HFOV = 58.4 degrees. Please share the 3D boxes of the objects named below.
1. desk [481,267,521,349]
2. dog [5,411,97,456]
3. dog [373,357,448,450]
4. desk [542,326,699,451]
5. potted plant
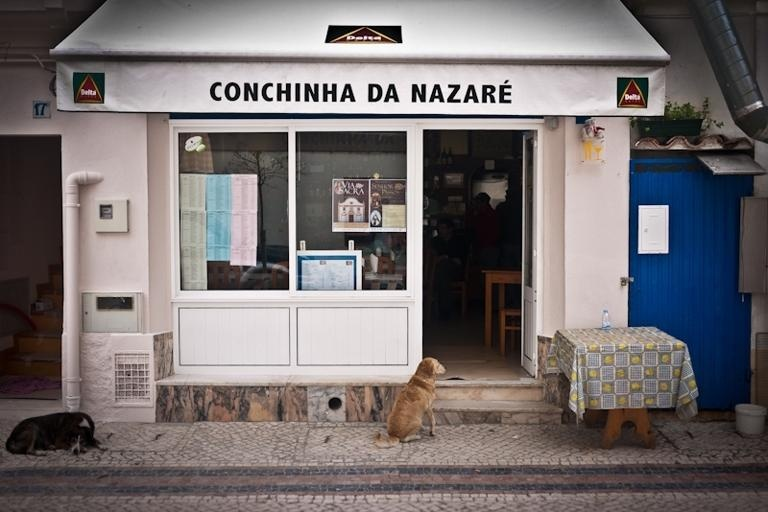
[{"bbox_3d":[2.123,0.772,11.540,0.852,1.022,1.064,1,0,6],"label":"desk"},{"bbox_3d":[-4.136,2.234,8.572,0.944,0.415,0.513,1,-6,-13],"label":"dog"},{"bbox_3d":[0.353,1.899,8.903,1.125,0.972,0.464,-10,10,-40],"label":"dog"},{"bbox_3d":[3.033,1.549,8.887,1.514,1.127,1.523,-1,6,-2],"label":"desk"},{"bbox_3d":[4.018,-1.846,9.320,0.862,0.310,0.645,0,-1,3],"label":"potted plant"}]
